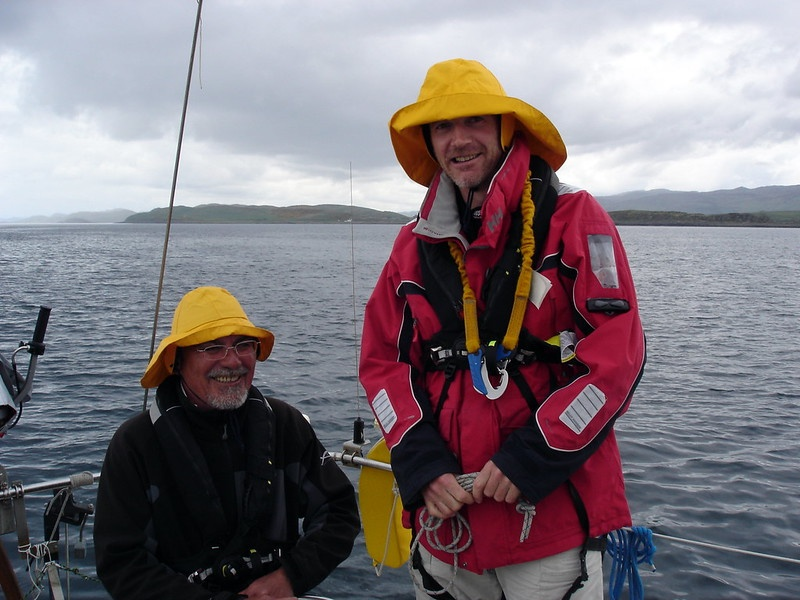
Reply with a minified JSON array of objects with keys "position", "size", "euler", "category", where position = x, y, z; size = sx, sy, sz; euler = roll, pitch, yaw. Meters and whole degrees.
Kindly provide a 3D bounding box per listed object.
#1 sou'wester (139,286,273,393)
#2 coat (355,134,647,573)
[{"position":[-1.380,0.220,4.445],"size":[0.956,0.605,0.962],"euler":[-7,-3,-10],"category":"sou'wester"},{"position":[0.594,0.229,3.796],"size":[1.783,2.260,1.252],"euler":[-7,0,25],"category":"coat"}]
